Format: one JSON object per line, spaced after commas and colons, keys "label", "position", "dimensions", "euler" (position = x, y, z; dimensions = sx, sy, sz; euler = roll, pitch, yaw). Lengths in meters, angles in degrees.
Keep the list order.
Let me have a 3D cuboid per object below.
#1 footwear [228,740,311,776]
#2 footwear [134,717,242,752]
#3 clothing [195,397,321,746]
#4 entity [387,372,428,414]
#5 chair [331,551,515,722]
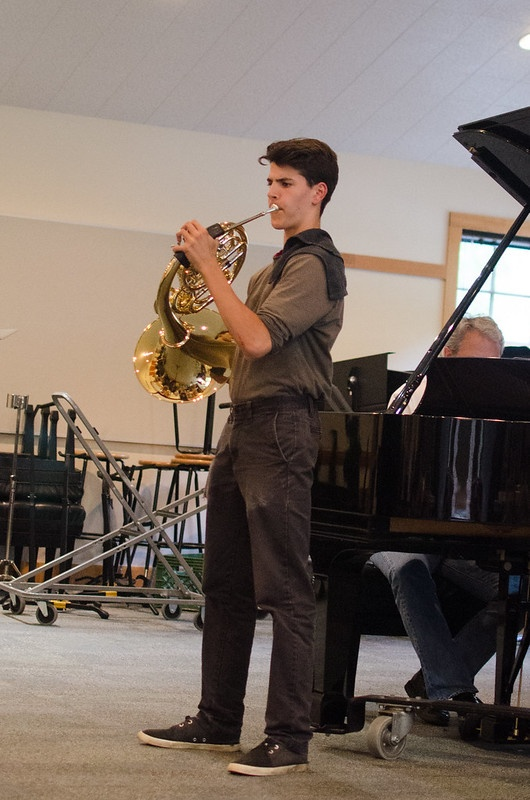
{"label": "footwear", "position": [0.016, 0.730, 1.627], "dimensions": [0.168, 0.057, 0.059], "euler": [6, -15, -24]}
{"label": "footwear", "position": [-0.161, 0.743, 1.791], "dimensions": [0.249, 0.079, 0.078], "euler": [4, -13, -2]}
{"label": "clothing", "position": [-0.005, 0.379, 1.759], "dimensions": [0.226, 0.734, 0.335], "euler": [15, -20, -28]}
{"label": "entity", "position": [0.429, -0.009, 2.270], "dimensions": [0.099, 0.115, 0.113], "euler": [17, -16, -33]}
{"label": "chair", "position": [0.595, 0.704, 2.501], "dimensions": [0.436, 0.511, 0.445], "euler": [-4, -18, -7]}
